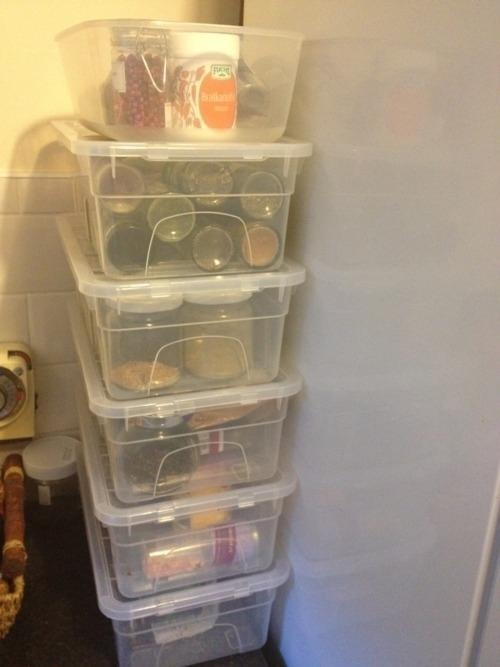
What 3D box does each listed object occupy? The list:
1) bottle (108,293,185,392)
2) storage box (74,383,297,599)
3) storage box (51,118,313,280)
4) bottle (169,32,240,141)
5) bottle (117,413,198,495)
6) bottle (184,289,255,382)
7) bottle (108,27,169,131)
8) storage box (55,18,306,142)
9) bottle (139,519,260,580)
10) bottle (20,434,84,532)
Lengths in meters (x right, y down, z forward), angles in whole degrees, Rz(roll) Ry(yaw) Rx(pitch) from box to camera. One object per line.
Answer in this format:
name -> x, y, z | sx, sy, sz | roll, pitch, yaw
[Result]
bottle -> -0.127, 0.005, 0.752 | 0.111, 0.118, 0.109 | 0, 20, -6
storage box -> -0.116, 0.214, 0.871 | 0.211, 0.118, 0.265 | -4, 19, -20
storage box -> -0.099, -0.197, 0.810 | 0.294, 0.165, 0.379 | -3, 24, -10
bottle -> -0.057, -0.277, 0.636 | 0.085, 0.090, 0.083 | 7, 26, 4
bottle -> -0.121, 0.158, 0.774 | 0.085, 0.102, 0.109 | -11, -5, -21
bottle -> -0.041, 0.004, 0.788 | 0.109, 0.117, 0.106 | 0, 18, -3
bottle -> -0.114, -0.266, 0.599 | 0.071, 0.118, 0.083 | -2, 17, -12
storage box -> -0.081, -0.250, 0.641 | 0.206, 0.084, 0.161 | -9, 27, -25
bottle -> -0.072, 0.279, 0.796 | 0.119, 0.039, 0.077 | -9, 14, -27
bottle -> -0.372, 0.267, 1.102 | 0.109, 0.079, 0.089 | -7, 27, -8
